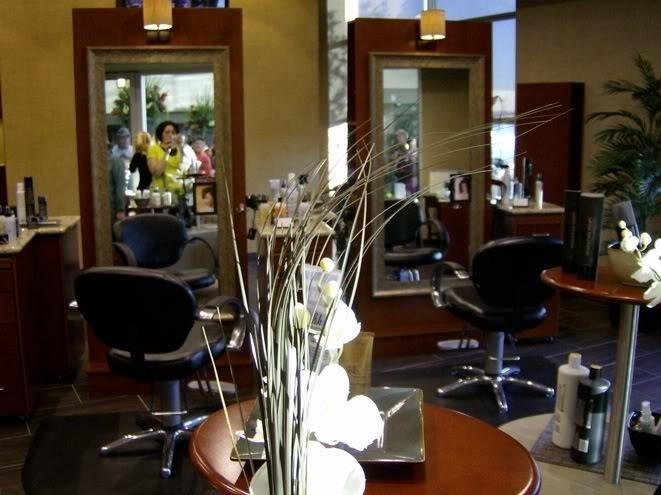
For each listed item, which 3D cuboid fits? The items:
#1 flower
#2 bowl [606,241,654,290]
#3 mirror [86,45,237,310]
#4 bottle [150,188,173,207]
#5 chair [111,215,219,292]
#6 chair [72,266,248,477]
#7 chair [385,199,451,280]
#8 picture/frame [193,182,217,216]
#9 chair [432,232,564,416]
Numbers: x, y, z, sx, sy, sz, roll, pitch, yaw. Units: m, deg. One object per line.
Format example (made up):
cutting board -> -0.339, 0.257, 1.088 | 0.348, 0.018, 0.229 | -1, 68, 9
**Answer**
flower -> 0.408, 0.201, 2.804 | 1.109, 1.383, 1.907 | 3, 9, 12
bowl -> 1.090, 0.054, 2.117 | 0.130, 0.100, 0.125 | -1, 8, 0
mirror -> -1.177, -0.520, 4.101 | 0.948, 1.956, 0.069 | -12, 52, -30
bottle -> -1.072, -0.314, 3.733 | 0.142, 0.112, 0.086 | 1, -4, -13
chair -> -1.026, -0.021, 3.709 | 0.458, 0.631, 0.507 | -6, 10, -36
chair -> -0.887, 0.558, 3.133 | 0.696, 1.069, 0.820 | 2, 9, 12
chair -> 0.509, -0.023, 4.174 | 0.466, 0.680, 0.522 | -2, 5, -8
picture/frame -> -0.810, -0.323, 3.764 | 0.192, 0.289, 0.027 | 0, 3, -7
chair -> 1.016, 0.375, 3.612 | 0.669, 1.089, 0.720 | 1, 16, 11
